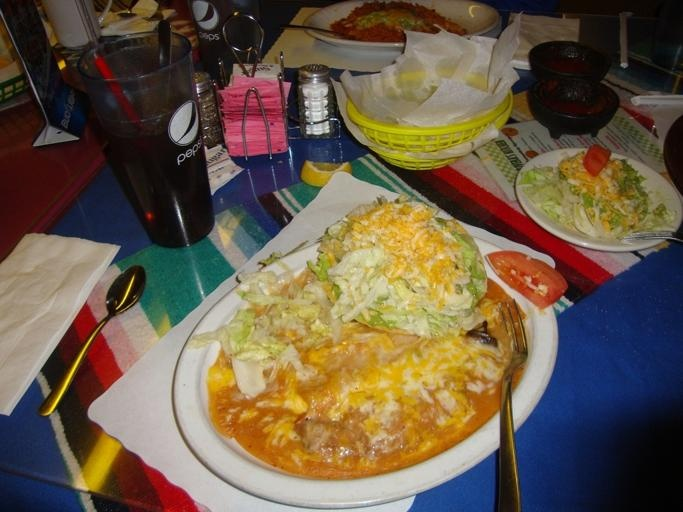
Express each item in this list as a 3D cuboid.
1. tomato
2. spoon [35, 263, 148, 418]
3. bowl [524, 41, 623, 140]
[{"bbox_3d":[0.498,0.066,1.407,0.237,0.075,0.150,37,21,3],"label":"tomato"},{"bbox_3d":[-0.670,0.207,1.402,0.098,0.065,0.505,10,53,11],"label":"spoon"},{"bbox_3d":[0.970,-0.739,2.046,0.332,0.179,0.595,6,55,16],"label":"bowl"}]
